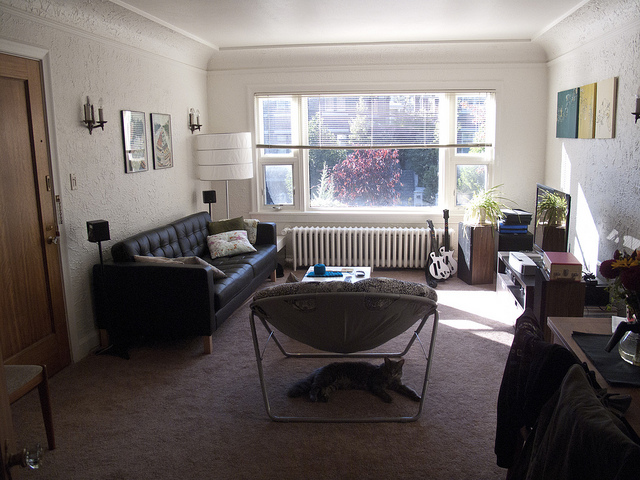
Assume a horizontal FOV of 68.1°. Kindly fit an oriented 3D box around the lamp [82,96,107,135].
[{"bbox_3d":[-1.969,-1.083,4.123,0.128,0.323,0.198,-1,10,4],"label":"lamp"}]

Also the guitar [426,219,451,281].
[{"bbox_3d":[1.472,0.144,5.846,0.294,0.762,0.649,1,11,15],"label":"guitar"}]

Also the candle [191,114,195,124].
[{"bbox_3d":[-1.577,-1.487,5.841,0.069,0.113,0.029,-8,12,-33],"label":"candle"}]

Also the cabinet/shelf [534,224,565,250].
[{"bbox_3d":[2.253,-0.036,4.619,0.125,0.231,0.250,1,5,5],"label":"cabinet/shelf"}]

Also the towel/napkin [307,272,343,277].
[{"bbox_3d":[0.046,0.341,4.842,0.369,0.042,0.198,-2,10,-1],"label":"towel/napkin"}]

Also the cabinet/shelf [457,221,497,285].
[{"bbox_3d":[1.889,0.165,5.747,0.490,0.708,0.327,5,12,32],"label":"cabinet/shelf"}]

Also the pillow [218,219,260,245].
[{"bbox_3d":[-0.921,-0.125,5.627,0.149,0.339,0.322,-4,-5,-32],"label":"pillow"}]

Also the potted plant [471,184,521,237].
[{"bbox_3d":[2.145,-0.372,5.861,0.564,0.393,0.583,0,5,-6],"label":"potted plant"}]

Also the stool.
[{"bbox_3d":[-1.702,1.022,2.802,0.196,0.549,0.287,-9,12,-35],"label":"stool"}]

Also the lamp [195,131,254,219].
[{"bbox_3d":[-1.203,-0.734,6.081,0.741,1.294,0.743,-9,18,-30],"label":"lamp"}]

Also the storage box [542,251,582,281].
[{"bbox_3d":[1.969,0.211,3.847,0.243,0.170,0.348,1,11,16],"label":"storage box"}]

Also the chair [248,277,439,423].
[{"bbox_3d":[0.149,0.603,3.442,1.335,0.987,1.276,-4,11,-21],"label":"chair"}]
